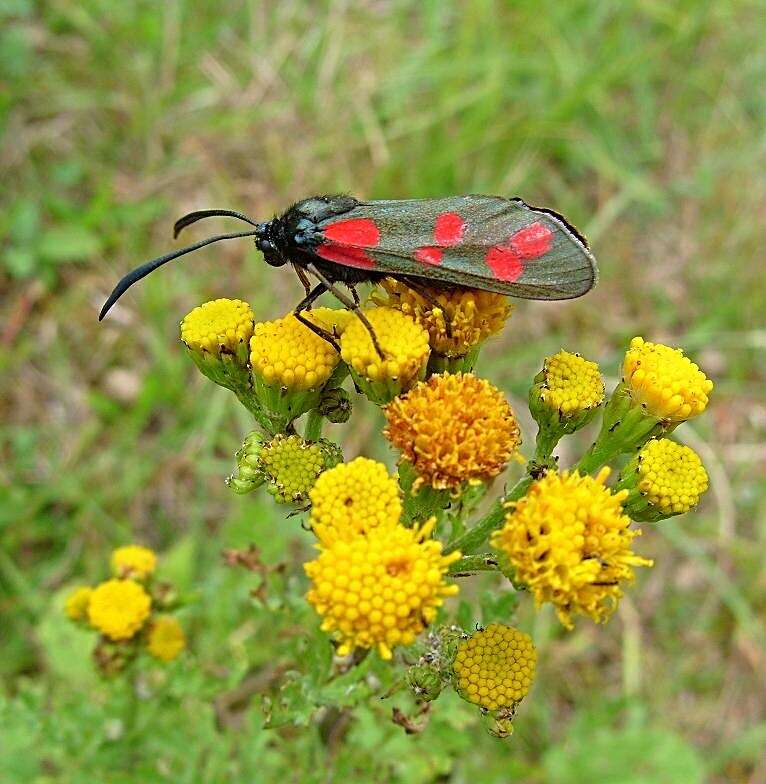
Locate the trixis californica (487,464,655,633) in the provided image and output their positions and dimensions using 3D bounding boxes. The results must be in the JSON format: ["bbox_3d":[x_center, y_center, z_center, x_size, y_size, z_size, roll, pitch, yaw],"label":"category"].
[{"bbox_3d":[0.680,0.607,3.432,0.567,0.505,0.382,-7,63,-25],"label":"trixis californica"}]

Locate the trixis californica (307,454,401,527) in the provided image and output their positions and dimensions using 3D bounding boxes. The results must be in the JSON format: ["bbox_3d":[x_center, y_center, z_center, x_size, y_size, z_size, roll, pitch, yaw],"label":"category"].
[{"bbox_3d":[-0.083,0.402,3.424,0.312,0.114,0.304,35,67,26],"label":"trixis californica"}]

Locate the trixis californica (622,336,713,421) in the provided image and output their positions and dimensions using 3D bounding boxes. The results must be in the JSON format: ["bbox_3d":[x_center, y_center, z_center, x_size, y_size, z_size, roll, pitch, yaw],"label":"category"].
[{"bbox_3d":[1.099,-0.037,3.765,0.362,0.370,0.202,26,105,-16],"label":"trixis californica"}]

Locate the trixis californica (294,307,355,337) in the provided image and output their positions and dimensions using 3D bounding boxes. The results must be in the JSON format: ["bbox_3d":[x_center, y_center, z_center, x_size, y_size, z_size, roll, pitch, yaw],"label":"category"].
[{"bbox_3d":[-0.224,-0.304,3.813,0.186,0.042,0.132,27,56,37],"label":"trixis californica"}]

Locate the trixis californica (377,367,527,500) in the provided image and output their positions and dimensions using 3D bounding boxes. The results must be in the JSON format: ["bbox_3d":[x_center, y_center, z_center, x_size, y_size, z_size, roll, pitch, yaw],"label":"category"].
[{"bbox_3d":[0.259,0.165,3.625,0.587,0.436,0.492,-14,35,-12],"label":"trixis californica"}]

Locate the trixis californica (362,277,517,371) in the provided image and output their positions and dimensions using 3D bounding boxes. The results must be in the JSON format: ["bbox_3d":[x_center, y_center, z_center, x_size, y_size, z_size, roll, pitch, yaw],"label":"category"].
[{"bbox_3d":[0.248,-0.274,3.786,0.524,0.450,0.220,1,97,-11],"label":"trixis californica"}]

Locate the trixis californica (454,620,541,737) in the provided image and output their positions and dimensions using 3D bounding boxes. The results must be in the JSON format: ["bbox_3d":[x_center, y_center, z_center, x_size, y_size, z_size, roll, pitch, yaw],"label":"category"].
[{"bbox_3d":[0.437,1.116,3.562,0.422,0.165,0.381,1,81,-4],"label":"trixis californica"}]

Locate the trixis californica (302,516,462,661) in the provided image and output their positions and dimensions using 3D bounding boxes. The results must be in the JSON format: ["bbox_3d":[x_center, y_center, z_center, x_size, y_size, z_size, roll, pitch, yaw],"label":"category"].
[{"bbox_3d":[0.030,0.717,3.349,0.555,0.346,0.433,-20,81,-3],"label":"trixis californica"}]

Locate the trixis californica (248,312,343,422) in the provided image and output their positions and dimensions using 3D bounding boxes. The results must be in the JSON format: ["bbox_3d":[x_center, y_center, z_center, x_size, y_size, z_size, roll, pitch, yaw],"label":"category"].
[{"bbox_3d":[-0.374,-0.118,3.963,0.508,0.474,0.407,9,102,28],"label":"trixis californica"}]
